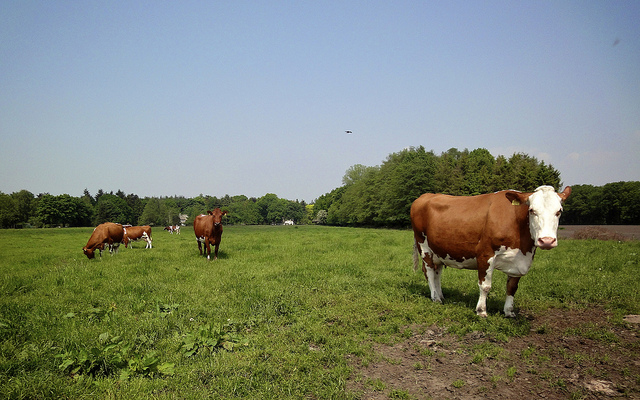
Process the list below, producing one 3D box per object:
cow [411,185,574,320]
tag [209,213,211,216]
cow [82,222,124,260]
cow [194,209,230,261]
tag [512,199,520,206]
[{"bbox_3d":[5.770,1.939,14.743,2.444,4.495,6.612,1,-1,-28],"label":"cow"},{"bbox_3d":[-6.303,0.794,23.219,0.036,0.132,0.135,-11,37,-37],"label":"tag"},{"bbox_3d":[-13.199,2.568,24.861,1.635,2.183,4.061,-4,9,-16],"label":"cow"},{"bbox_3d":[-6.308,1.845,23.334,1.017,2.920,2.288,-7,11,-35],"label":"cow"},{"bbox_3d":[6.470,0.063,13.394,0.208,0.201,0.058,5,5,23],"label":"tag"}]
